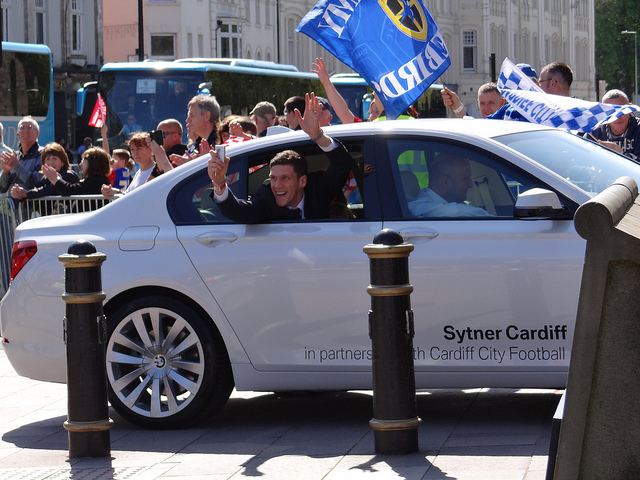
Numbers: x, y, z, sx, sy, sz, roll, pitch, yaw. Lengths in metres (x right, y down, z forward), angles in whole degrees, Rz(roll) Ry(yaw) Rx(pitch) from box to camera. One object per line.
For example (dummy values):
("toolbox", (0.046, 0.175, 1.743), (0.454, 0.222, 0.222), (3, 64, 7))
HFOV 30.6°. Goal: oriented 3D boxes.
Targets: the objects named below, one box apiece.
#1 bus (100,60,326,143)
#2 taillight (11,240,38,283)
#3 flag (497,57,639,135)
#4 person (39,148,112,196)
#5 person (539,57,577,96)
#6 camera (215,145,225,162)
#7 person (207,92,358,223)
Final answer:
("bus", (-2.966, -3.378, 30.740), (2.391, 2.851, 9.035), (0, 5, 16))
("taillight", (-2.192, 0.130, 8.449), (0.087, 0.305, 0.202), (20, -6, -12))
("flag", (2.014, -1.233, 9.984), (1.121, 0.656, 1.068), (0, 6, 28))
("person", (-2.590, -0.668, 12.298), (0.713, 0.578, 0.580), (-6, 5, 5))
("person", (2.201, -1.490, 10.806), (0.298, 0.325, 0.755), (-1, 5, 11))
("camera", (-0.683, -0.576, 7.797), (0.065, 0.111, 0.092), (-3, 5, -10))
("person", (-0.298, -0.308, 8.279), (0.991, 0.490, 1.528), (-10, -33, -13))
